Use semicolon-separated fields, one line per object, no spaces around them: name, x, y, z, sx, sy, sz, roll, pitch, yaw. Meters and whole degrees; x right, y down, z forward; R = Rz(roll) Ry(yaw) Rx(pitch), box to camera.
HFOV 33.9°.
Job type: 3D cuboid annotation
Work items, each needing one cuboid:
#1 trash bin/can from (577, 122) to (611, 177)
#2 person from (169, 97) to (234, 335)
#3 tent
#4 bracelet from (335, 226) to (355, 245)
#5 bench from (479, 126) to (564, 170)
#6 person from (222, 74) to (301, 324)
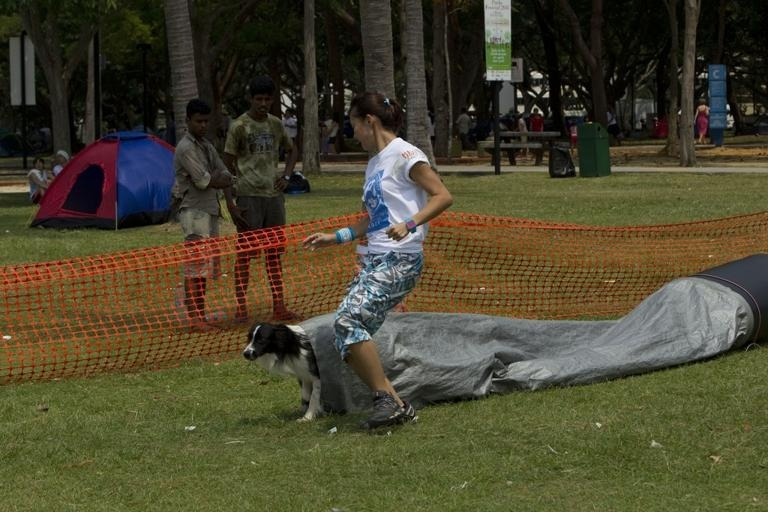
trash bin/can;5.127;-2.631;30.822;0.761;1.275;0.685;-1;6;23
person;-2.488;-0.612;17.218;0.750;3.019;0.741;-5;6;-15
tent;-5.301;-1.482;24.074;2.462;1.764;1.122;-4;6;-10
bracelet;-0.484;-0.288;15.110;0.205;0.163;0.212;-16;-29;-11
bench;4.072;-3.175;37.004;2.760;1.306;1.876;2;12;11
person;-1.706;-0.834;17.404;1.125;3.230;1.026;-7;7;-33
